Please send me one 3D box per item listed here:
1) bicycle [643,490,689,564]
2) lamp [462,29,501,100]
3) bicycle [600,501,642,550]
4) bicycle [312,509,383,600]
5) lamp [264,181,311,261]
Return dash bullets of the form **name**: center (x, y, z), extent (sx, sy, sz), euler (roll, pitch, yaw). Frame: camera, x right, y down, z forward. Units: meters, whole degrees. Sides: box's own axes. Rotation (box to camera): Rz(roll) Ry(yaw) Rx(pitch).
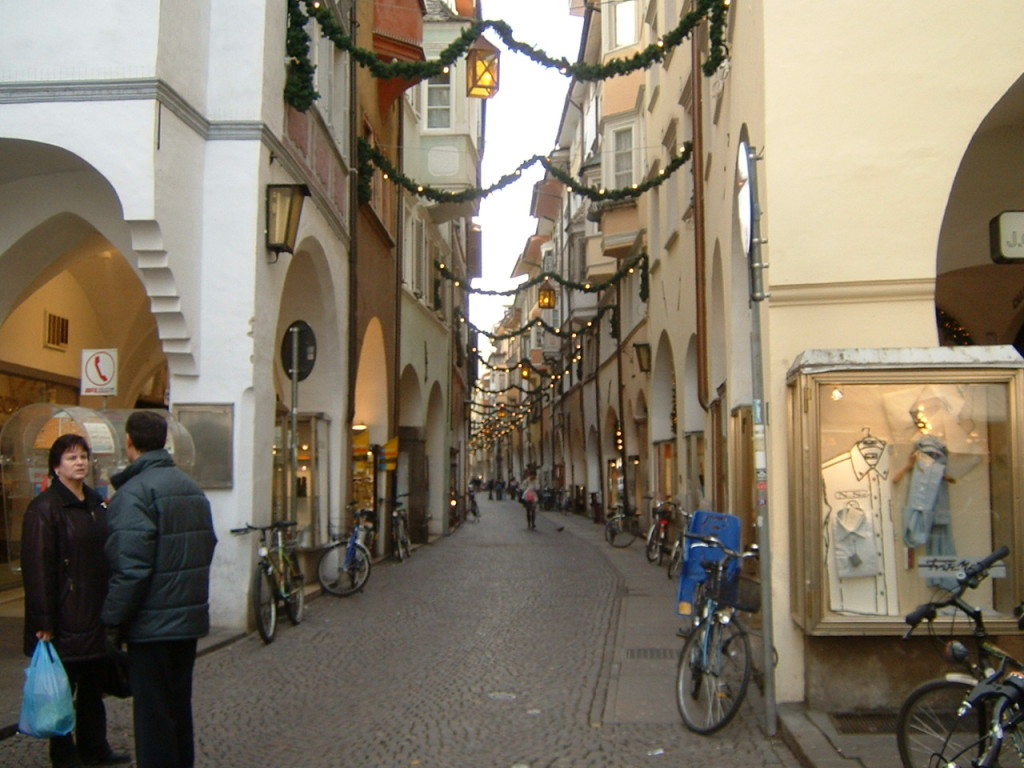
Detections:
- **bicycle**: center (3.267, 3.159, 20.177), extent (0.898, 1.422, 2.089), euler (3, 1, 6)
- **lamp**: center (-0.455, -4.766, 14.527), extent (0.485, 1.029, 0.710), euler (0, -6, -3)
- **bicycle**: center (2.876, 3.769, 24.842), extent (0.762, 0.807, 1.472), euler (-1, -22, 10)
- **bicycle**: center (-2.691, 2.917, 15.169), extent (1.164, 0.913, 0.645), euler (3, -4, -13)
- **lamp**: center (-2.949, -2.156, 12.315), extent (0.402, 0.831, 0.471), euler (2, -7, 2)
